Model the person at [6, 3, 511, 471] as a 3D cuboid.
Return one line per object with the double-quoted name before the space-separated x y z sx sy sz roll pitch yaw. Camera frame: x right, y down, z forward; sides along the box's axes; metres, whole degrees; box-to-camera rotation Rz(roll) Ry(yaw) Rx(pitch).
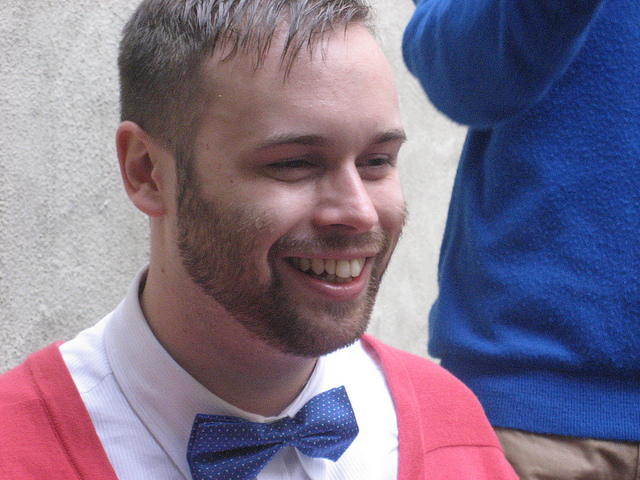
"person" -0.221 0.058 2.647 1.600 1.084 1.342 -1 93 -19
